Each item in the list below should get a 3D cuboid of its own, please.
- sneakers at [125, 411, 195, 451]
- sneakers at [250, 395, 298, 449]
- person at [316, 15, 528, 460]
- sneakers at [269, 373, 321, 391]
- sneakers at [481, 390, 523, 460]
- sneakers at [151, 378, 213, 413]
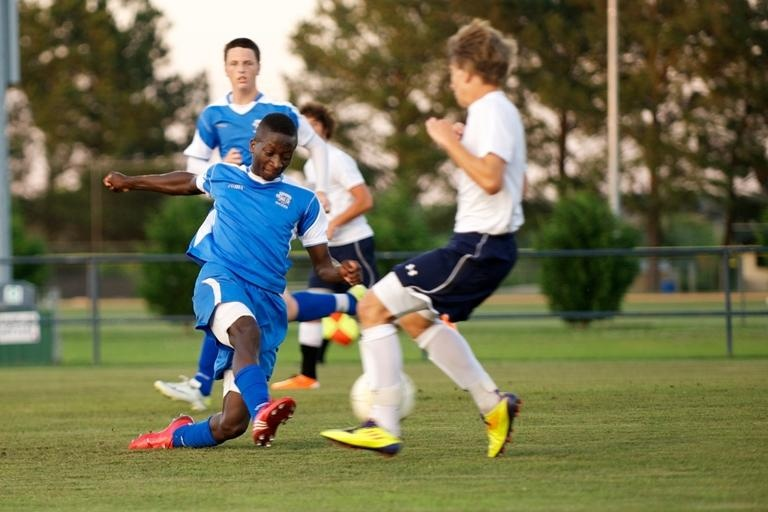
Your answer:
[{"bbox_3d":[-1.822,1.515,11.485,0.685,0.246,0.217,1,2,-5],"label":"sneakers"},{"bbox_3d":[-0.908,1.325,11.107,0.214,0.518,0.276,37,4,-31],"label":"sneakers"},{"bbox_3d":[0.554,-0.154,11.294,1.219,3.508,1.585,9,17,35],"label":"person"},{"bbox_3d":[-0.903,1.287,13.790,0.518,0.167,0.169,1,-11,-3],"label":"sneakers"},{"bbox_3d":[0.962,1.389,11.290,0.303,0.567,0.202,13,-2,-14],"label":"sneakers"},{"bbox_3d":[-1.886,1.280,12.700,0.565,0.259,0.205,26,-26,-21],"label":"sneakers"}]
